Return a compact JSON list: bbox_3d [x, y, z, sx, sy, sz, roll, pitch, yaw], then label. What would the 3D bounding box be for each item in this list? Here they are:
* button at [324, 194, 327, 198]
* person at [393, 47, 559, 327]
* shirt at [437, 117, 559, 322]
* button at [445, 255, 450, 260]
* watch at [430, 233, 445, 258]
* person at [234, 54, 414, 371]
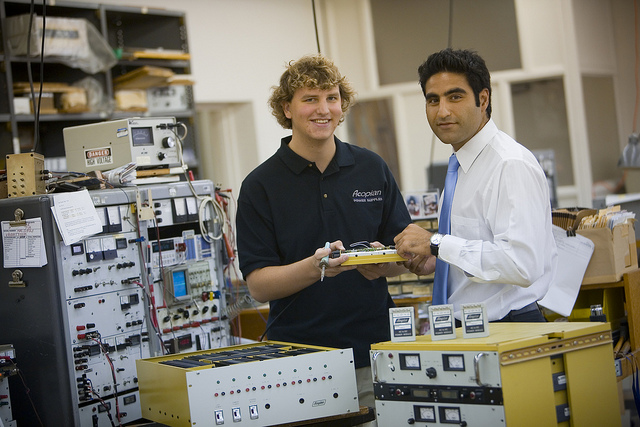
[{"bbox_3d":[0.023,-0.091,3.051,0.017,0.019,0.004,-4,3,-34],"label":"button"},{"bbox_3d":[0.705,-0.116,2.799,0.675,1.340,0.570,-1,4,26],"label":"person"},{"bbox_3d":[0.781,0.024,2.984,0.553,0.994,0.871,1,2,-17],"label":"shirt"},{"bbox_3d":[0.567,0.199,2.682,0.020,0.015,0.006,-2,4,18],"label":"button"},{"bbox_3d":[0.514,0.136,2.704,0.057,0.103,0.089,4,-18,9],"label":"watch"},{"bbox_3d":[0.004,0.000,3.037,0.872,1.607,0.593,-3,4,8],"label":"person"}]
